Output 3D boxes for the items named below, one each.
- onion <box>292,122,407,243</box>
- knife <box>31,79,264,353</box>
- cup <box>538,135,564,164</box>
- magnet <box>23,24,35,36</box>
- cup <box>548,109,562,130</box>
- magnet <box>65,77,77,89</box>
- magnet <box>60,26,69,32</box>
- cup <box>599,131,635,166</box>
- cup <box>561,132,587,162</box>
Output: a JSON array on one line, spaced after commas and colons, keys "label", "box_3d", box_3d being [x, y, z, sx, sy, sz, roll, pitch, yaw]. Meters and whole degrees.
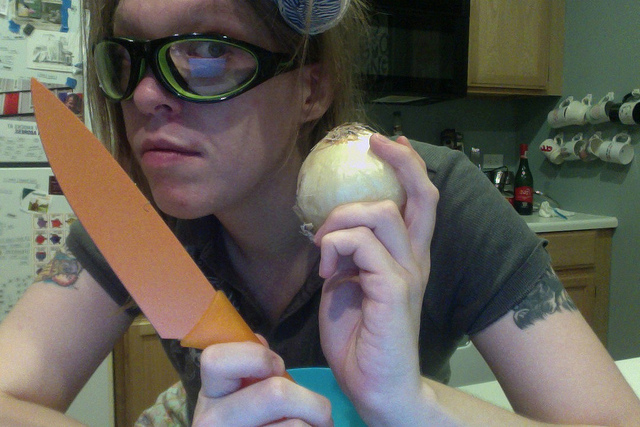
[{"label": "onion", "box_3d": [0.079, -0.064, 1.387, 0.259, 0.251, 0.113, 2, 17, 8]}, {"label": "knife", "box_3d": [-0.424, 0.012, 1.481, 0.171, 1.041, 0.084, -33, 4, -6]}, {"label": "cup", "box_3d": [1.370, -0.383, 3.392, 0.155, 0.147, 0.104, -14, -10, 23]}, {"label": "magnet", "box_3d": [-1.186, -0.741, 2.332, 0.037, 0.039, 0.010, 26, 2, 1]}, {"label": "cup", "box_3d": [1.343, -0.530, 3.318, 0.067, 0.101, 0.101, 13, 11, -1]}, {"label": "magnet", "box_3d": [-1.044, -0.544, 2.401, 0.029, 0.037, 0.051, 3, 38, -18]}, {"label": "magnet", "box_3d": [-1.063, -0.760, 2.375, 0.025, 0.027, 0.006, 1, 4, -14]}, {"label": "cup", "box_3d": [1.533, -0.317, 2.980, 0.110, 0.194, 0.118, -5, 4, 0]}, {"label": "cup", "box_3d": [1.407, -0.366, 3.233, 0.085, 0.151, 0.099, 21, 9, -10]}]
